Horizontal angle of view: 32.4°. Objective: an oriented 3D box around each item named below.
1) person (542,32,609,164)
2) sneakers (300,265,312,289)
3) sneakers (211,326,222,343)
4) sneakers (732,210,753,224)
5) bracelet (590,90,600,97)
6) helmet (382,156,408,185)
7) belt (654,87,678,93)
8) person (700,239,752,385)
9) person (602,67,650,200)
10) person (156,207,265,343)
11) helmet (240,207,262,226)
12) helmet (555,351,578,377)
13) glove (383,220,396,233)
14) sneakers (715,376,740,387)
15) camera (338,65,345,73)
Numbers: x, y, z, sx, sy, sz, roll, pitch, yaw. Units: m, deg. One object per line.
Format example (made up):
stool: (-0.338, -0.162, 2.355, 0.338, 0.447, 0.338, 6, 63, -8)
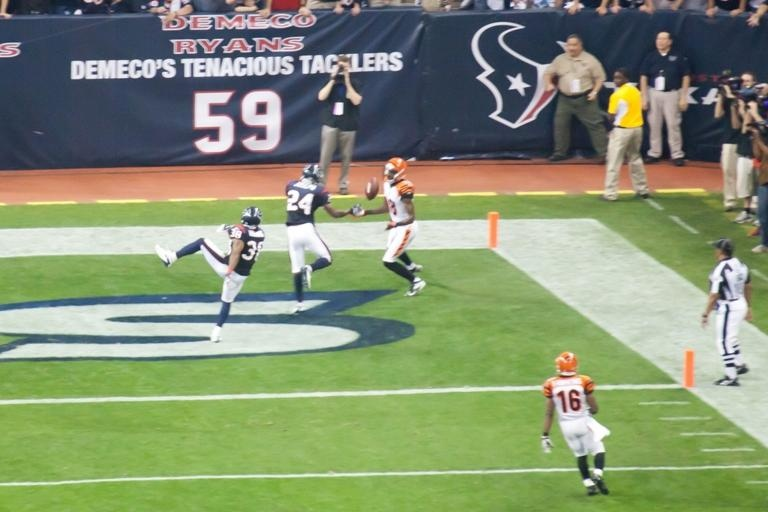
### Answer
person: (4.706, -3.846, 32.334, 1.452, 3.118, 0.777, 9, 19, 34)
sneakers: (-1.435, 0.384, 24.362, 0.269, 0.398, 0.176, 1, 13, -4)
sneakers: (-2.966, 1.388, 23.201, 0.176, 0.344, 0.136, 19, 59, -4)
sneakers: (7.713, -0.837, 28.104, 0.587, 0.188, 0.216, -4, 9, -38)
bracelet: (5.063, -3.904, 31.744, 0.239, 0.051, 0.145, -23, 25, 27)
helmet: (0.217, -1.610, 24.912, 0.375, 0.447, 0.313, -2, 14, -4)
belt: (6.763, -3.985, 31.669, 0.511, 0.074, 0.135, 3, 12, 18)
person: (5.661, 0.929, 21.767, 0.747, 2.395, 0.728, 2, 16, 13)
person: (5.345, -2.680, 29.341, 0.847, 2.955, 0.931, 7, 18, 28)
person: (-2.833, 0.277, 23.471, 1.087, 2.365, 1.234, -11, 18, -31)
helmet: (-2.323, -0.701, 23.168, 0.376, 0.299, 0.367, 2, -3, -7)
helmet: (2.725, 1.605, 19.548, 0.456, 0.309, 0.293, 3, -8, 10)
glove: (0.108, -0.520, 25.095, 0.121, 0.348, 0.143, 21, 39, -31)
sneakers: (5.651, 2.073, 21.852, 0.439, 0.124, 0.159, 4, 5, 3)
camera: (-0.951, -4.212, 29.611, 0.103, 0.173, 0.107, -2, 15, -3)
